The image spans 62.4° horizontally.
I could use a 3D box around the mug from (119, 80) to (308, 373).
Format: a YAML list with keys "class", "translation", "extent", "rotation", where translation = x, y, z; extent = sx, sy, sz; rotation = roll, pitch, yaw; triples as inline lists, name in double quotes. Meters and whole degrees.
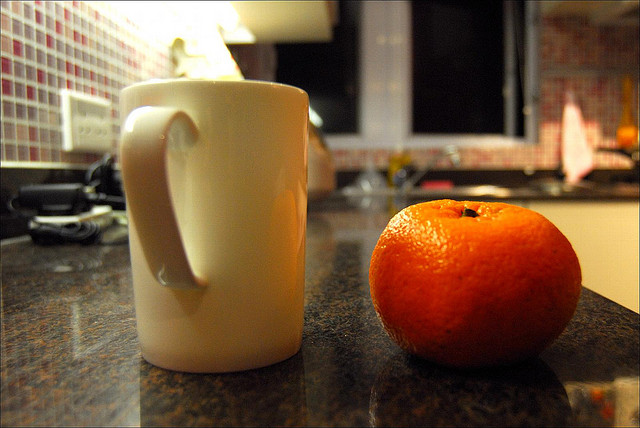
- class: "mug"
  translation: [-0.119, 0.016, 0.556]
  extent: [0.183, 0.302, 0.291]
  rotation: [1, 9, 1]

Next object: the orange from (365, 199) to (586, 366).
- class: "orange"
  translation: [0.175, 0.065, 0.605]
  extent: [0.217, 0.151, 0.212]
  rotation: [8, 16, 35]
